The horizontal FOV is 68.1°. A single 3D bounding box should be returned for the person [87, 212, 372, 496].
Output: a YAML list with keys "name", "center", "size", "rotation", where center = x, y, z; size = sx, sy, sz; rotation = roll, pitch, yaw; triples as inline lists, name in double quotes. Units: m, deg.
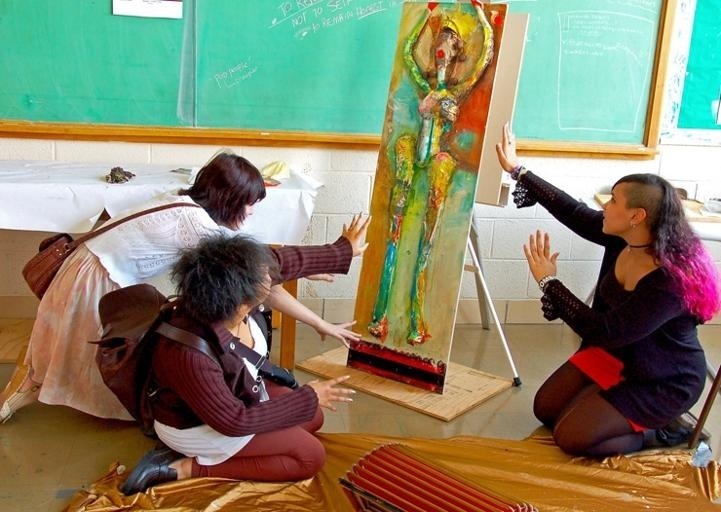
- name: "person"
  center: [-0.452, 0.366, 2.174]
  size: [1.133, 0.937, 0.739]
  rotation: [-11, 23, -36]

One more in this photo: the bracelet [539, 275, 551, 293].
- name: "bracelet"
  center: [0.837, 0.127, 2.424]
  size: [0.024, 0.062, 0.054]
  rotation: [25, -17, -26]

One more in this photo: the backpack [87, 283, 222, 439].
- name: "backpack"
  center: [-0.845, 0.421, 2.137]
  size: [0.522, 0.475, 0.424]
  rotation: [25, 33, 16]

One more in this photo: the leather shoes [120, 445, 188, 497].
- name: "leather shoes"
  center: [-0.816, 0.941, 2.211]
  size: [0.168, 0.439, 0.151]
  rotation: [37, 50, -14]

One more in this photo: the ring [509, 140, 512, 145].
- name: "ring"
  center: [0.765, -0.578, 2.704]
  size: [0.018, 0.017, 0.004]
  rotation: [-2, -4, 10]

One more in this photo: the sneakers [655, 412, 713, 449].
- name: "sneakers"
  center: [1.521, 0.833, 2.554]
  size: [0.196, 0.144, 0.058]
  rotation: [12, 58, 10]

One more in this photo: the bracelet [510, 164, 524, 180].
- name: "bracelet"
  center: [0.803, -0.431, 2.731]
  size: [0.062, 0.070, 0.072]
  rotation: [15, -19, -33]

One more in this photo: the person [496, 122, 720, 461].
- name: "person"
  center: [1.126, 0.249, 2.455]
  size: [0.879, 1.245, 0.680]
  rotation: [15, 24, 33]
